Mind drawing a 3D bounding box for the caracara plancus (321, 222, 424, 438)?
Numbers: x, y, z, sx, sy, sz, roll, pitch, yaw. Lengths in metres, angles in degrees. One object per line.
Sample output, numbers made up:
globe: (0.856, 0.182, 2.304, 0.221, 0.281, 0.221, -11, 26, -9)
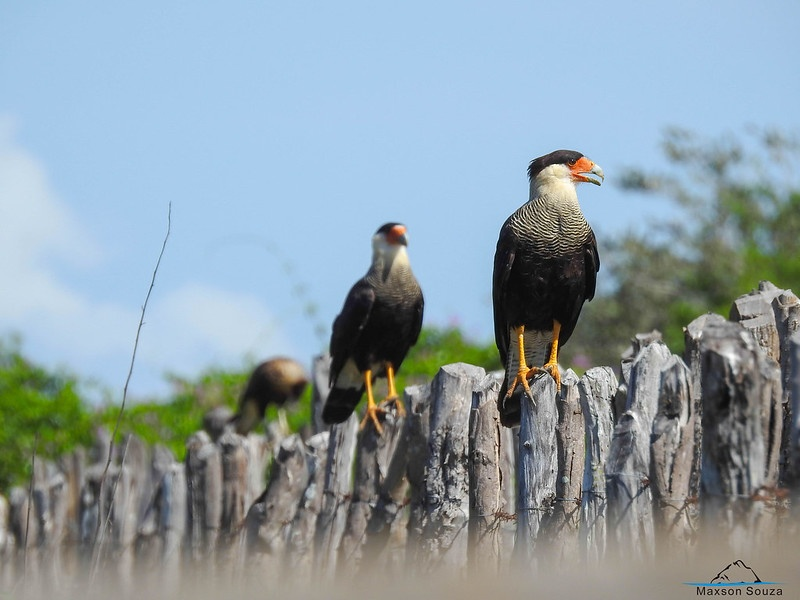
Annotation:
caracara plancus: (-0.287, 0.193, 15.474, 0.756, 1.954, 1.419, -2, 7, -28)

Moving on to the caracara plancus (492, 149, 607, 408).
caracara plancus: (1.319, -0.273, 14.597, 0.802, 2.233, 1.108, 3, -1, -42)
